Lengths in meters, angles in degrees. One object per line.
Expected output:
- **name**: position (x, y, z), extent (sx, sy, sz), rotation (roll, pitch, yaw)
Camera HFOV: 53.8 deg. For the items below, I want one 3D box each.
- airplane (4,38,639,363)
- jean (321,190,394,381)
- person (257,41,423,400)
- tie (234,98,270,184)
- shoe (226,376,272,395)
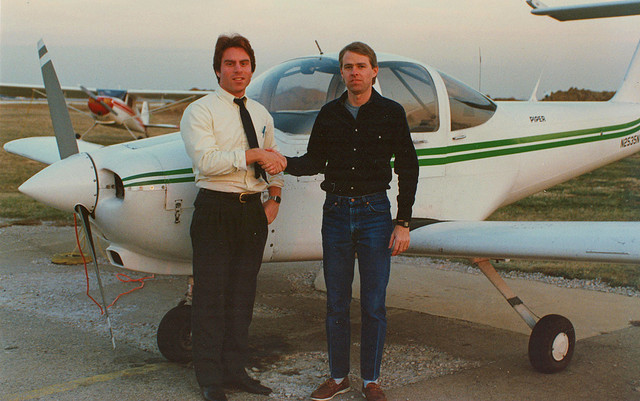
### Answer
- **airplane**: position (0.578, -0.257, 6.885), extent (5.172, 1.378, 4.936), rotation (-3, 6, -38)
- **jean**: position (0.382, 0.810, 5.905), extent (0.795, 1.739, 0.569), rotation (0, -6, 37)
- **person**: position (0.326, 0.236, 5.785), extent (1.099, 3.227, 1.141), rotation (0, 23, -6)
- **tie**: position (-0.552, -0.560, 5.801), extent (0.171, 0.899, 0.080), rotation (-30, -9, 10)
- **shoe**: position (-0.638, 1.745, 5.940), extent (0.419, 0.136, 0.099), rotation (2, 21, -2)
